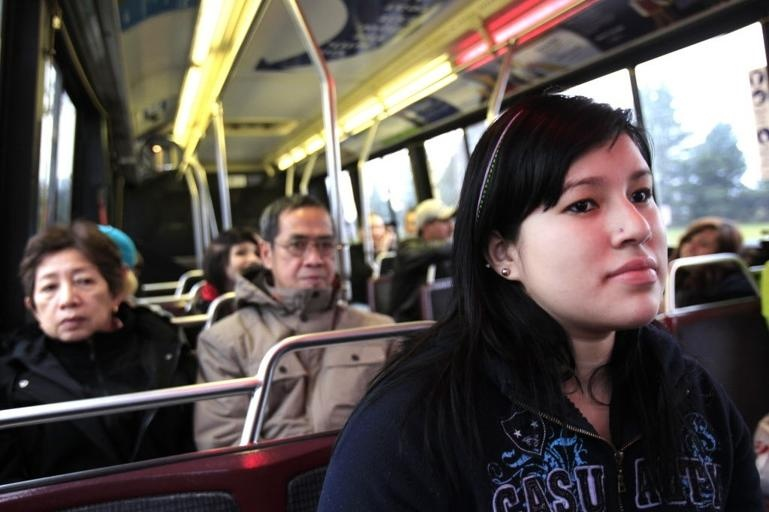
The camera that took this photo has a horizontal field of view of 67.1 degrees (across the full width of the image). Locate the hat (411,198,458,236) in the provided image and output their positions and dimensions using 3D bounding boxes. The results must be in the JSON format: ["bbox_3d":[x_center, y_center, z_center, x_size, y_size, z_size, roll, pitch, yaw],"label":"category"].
[{"bbox_3d":[0.645,-0.509,7.681,0.601,0.338,0.410,-33,12,17],"label":"hat"}]
